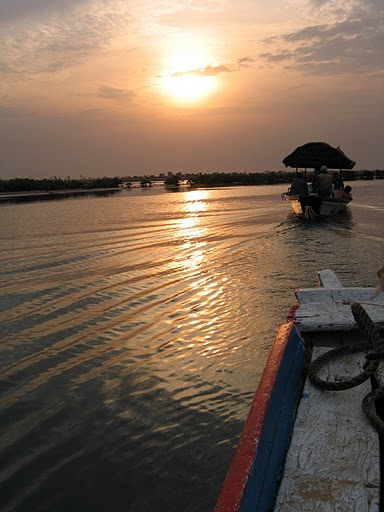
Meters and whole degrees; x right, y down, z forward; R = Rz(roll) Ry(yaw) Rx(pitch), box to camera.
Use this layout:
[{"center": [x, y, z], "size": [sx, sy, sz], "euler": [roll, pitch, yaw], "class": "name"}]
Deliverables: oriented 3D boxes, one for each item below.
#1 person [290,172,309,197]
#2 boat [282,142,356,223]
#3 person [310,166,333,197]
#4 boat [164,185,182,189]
[{"center": [4.990, -3.330, 19.085], "size": [0.682, 1.049, 1.391], "euler": [-6, 14, -11], "class": "person"}, {"center": [5.893, -3.916, 21.176], "size": [3.724, 3.390, 10.387], "euler": [2, 14, 23], "class": "boat"}, {"center": [6.155, -3.543, 19.608], "size": [0.840, 1.432, 1.739], "euler": [1, 14, 16], "class": "person"}, {"center": [-4.287, -15.475, 91.136], "size": [2.317, 0.231, 17.082], "euler": [-3, 13, -6], "class": "boat"}]
